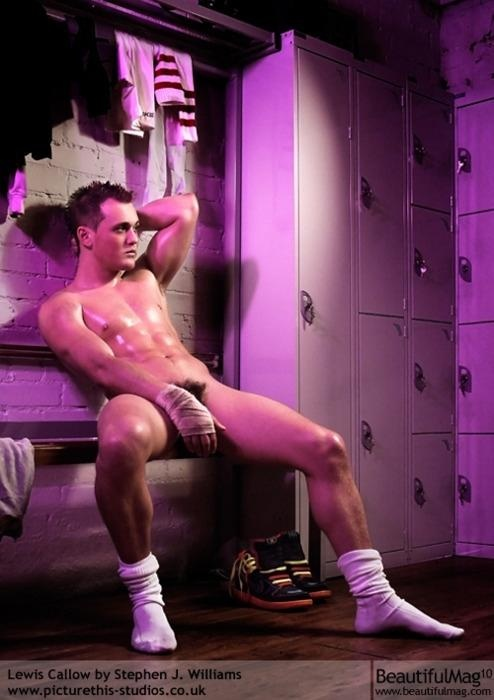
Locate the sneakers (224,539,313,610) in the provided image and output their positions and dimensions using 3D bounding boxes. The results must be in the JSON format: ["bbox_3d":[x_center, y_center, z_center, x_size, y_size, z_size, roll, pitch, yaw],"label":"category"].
[{"bbox_3d":[0.040,0.665,1.855,0.110,0.149,0.319,4,-8,-27],"label":"sneakers"}]

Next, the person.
[{"bbox_3d":[0.006,0.111,2.179,1.021,1.573,1.339,2,-14,-44],"label":"person"}]
